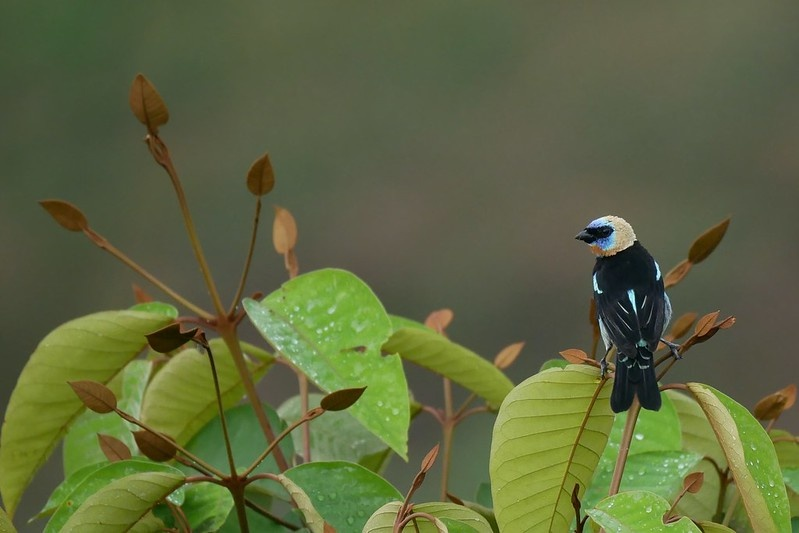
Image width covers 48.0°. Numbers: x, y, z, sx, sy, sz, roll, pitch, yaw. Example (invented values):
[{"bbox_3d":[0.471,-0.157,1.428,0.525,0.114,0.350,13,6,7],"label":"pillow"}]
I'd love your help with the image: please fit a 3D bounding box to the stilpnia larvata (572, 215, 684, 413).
[{"bbox_3d":[0.499,0.109,2.021,0.220,0.537,0.203,1,-30,14],"label":"stilpnia larvata"}]
